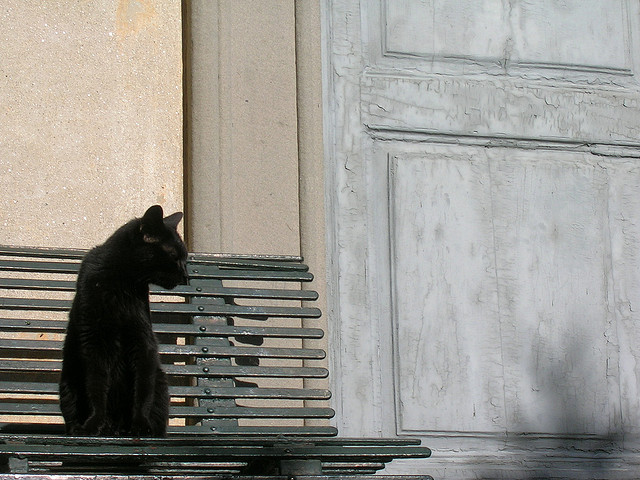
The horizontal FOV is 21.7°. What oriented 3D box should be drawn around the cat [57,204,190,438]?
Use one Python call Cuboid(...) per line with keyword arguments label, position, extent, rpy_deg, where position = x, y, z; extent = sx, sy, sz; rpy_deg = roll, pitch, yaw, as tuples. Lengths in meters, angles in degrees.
Cuboid(label="cat", position=(-0.722, 0.325, 5.997), extent=(0.360, 0.950, 0.659), rpy_deg=(7, 36, -14))
